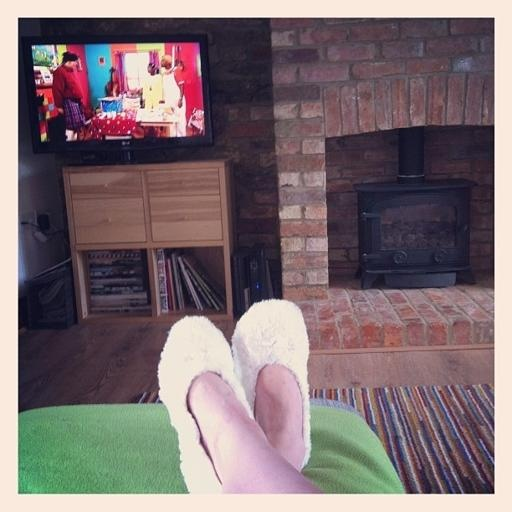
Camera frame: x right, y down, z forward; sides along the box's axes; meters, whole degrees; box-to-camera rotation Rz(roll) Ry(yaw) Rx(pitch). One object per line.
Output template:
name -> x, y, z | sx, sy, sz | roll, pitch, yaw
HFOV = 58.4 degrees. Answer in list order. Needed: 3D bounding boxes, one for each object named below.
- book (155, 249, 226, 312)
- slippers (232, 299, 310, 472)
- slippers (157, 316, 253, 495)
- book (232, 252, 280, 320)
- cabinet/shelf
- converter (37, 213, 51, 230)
book -> -0.407, 0.150, 2.552 | 0.110, 0.431, 0.273 | -15, -6, 43
slippers -> 0.047, 0.346, 1.296 | 0.153, 0.146, 0.483 | -5, 3, -1
slippers -> -0.130, 0.296, 1.030 | 0.132, 0.103, 0.432 | -5, 56, -19
book -> -0.019, 0.143, 2.246 | 0.084, 0.305, 0.291 | -5, 6, 12
cabinet/shelf -> -0.591, -0.078, 2.445 | 0.699, 0.817, 0.259 | -1, 17, 2
converter -> -1.235, -0.199, 2.642 | 0.070, 0.096, 0.163 | -8, 13, -25
